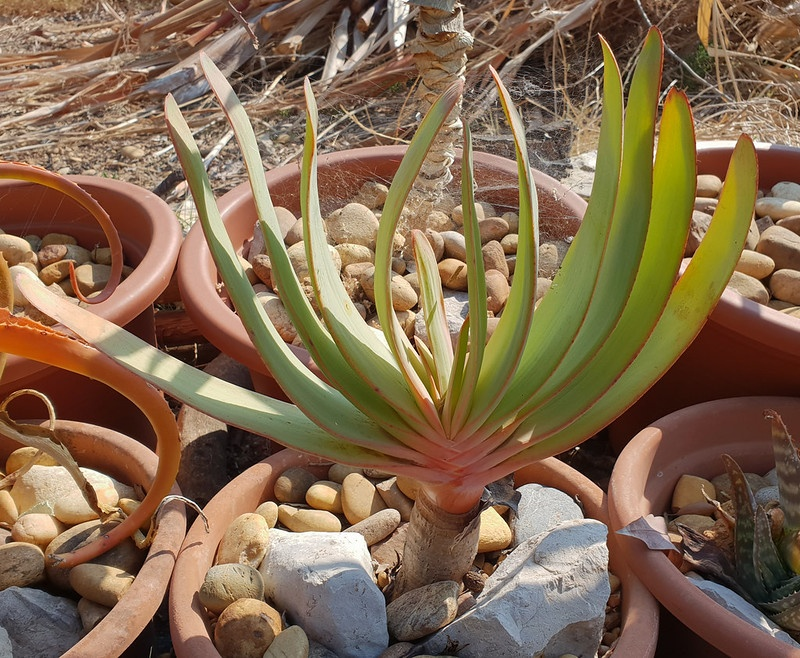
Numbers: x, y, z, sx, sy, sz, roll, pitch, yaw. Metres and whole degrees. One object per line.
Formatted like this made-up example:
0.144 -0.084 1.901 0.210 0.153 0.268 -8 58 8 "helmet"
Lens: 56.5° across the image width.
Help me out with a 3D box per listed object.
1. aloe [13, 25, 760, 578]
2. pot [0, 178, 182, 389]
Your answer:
0.020 -0.038 1.177 0.694 0.800 0.651 -6 21 -3 "aloe"
-0.746 -0.057 1.810 0.457 0.351 0.495 6 42 -5 "pot"
